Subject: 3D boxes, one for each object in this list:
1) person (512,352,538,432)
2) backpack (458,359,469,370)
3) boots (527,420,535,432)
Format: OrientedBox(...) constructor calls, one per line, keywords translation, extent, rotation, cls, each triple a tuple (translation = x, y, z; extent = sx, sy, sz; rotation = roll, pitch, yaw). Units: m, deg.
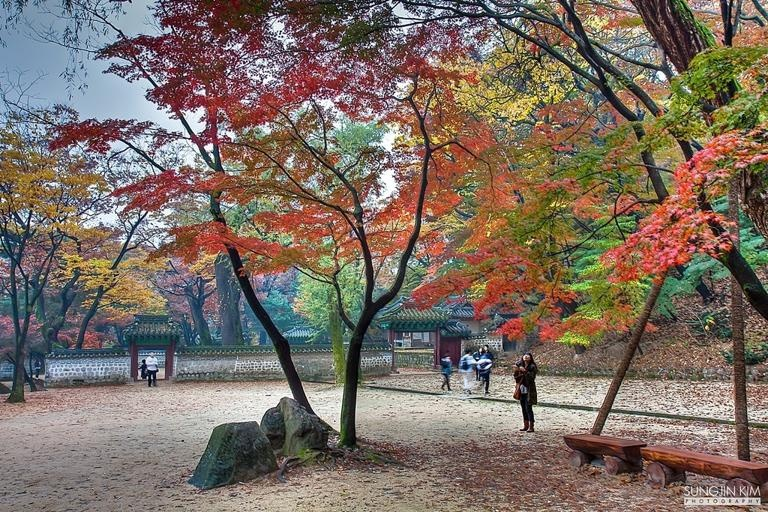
OrientedBox(translation=(4.373, 4.154, 20.742), extent=(0.690, 2.310, 1.416), rotation=(-5, -6, 11), cls="person")
OrientedBox(translation=(3.317, 4.550, 28.160), extent=(0.430, 0.378, 0.407), rotation=(0, -4, 6), cls="backpack")
OrientedBox(translation=(4.429, 5.107, 20.266), extent=(0.195, 0.304, 0.439), rotation=(-5, -7, 15), cls="boots")
